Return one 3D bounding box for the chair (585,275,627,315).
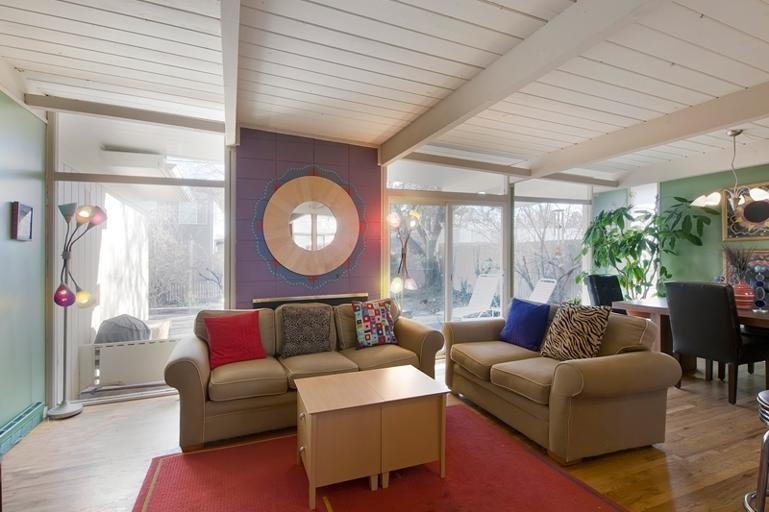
[{"bbox_3d":[2.883,0.512,6.548,0.372,0.676,0.405,-2,-17,-11],"label":"chair"}]

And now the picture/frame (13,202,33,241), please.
[{"bbox_3d":[-3.605,-0.343,4.985,0.061,0.444,0.373,1,3,-16],"label":"picture/frame"}]

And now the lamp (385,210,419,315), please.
[{"bbox_3d":[0.272,0.003,6.582,0.421,1.257,0.500,-2,0,4],"label":"lamp"}]

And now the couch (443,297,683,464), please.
[{"bbox_3d":[1.766,0.711,5.029,1.344,1.235,2.220,3,-4,-18],"label":"couch"}]

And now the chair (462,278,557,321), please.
[{"bbox_3d":[1.862,0.595,7.624,1.809,0.730,0.538,-1,1,-33],"label":"chair"}]

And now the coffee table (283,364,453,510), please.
[{"bbox_3d":[-0.233,1.239,4.561,1.509,0.923,0.901,-2,9,-20],"label":"coffee table"}]

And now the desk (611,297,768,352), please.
[{"bbox_3d":[3.459,0.725,6.082,0.969,0.595,0.970,-2,2,-16],"label":"desk"}]

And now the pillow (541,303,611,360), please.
[{"bbox_3d":[1.941,0.778,5.077,0.184,0.585,0.585,25,-14,-30],"label":"pillow"}]

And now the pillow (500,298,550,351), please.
[{"bbox_3d":[1.550,0.742,5.498,0.155,0.486,0.491,24,-6,-37],"label":"pillow"}]

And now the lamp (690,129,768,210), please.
[{"bbox_3d":[4.455,-1.089,6.507,0.809,0.883,0.867,1,2,-6],"label":"lamp"}]

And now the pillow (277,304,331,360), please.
[{"bbox_3d":[-0.891,0.850,5.457,0.503,0.480,0.176,3,-18,-22],"label":"pillow"}]

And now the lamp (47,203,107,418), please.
[{"bbox_3d":[-3.279,0.564,5.380,0.681,2.161,0.586,-1,2,-31],"label":"lamp"}]
